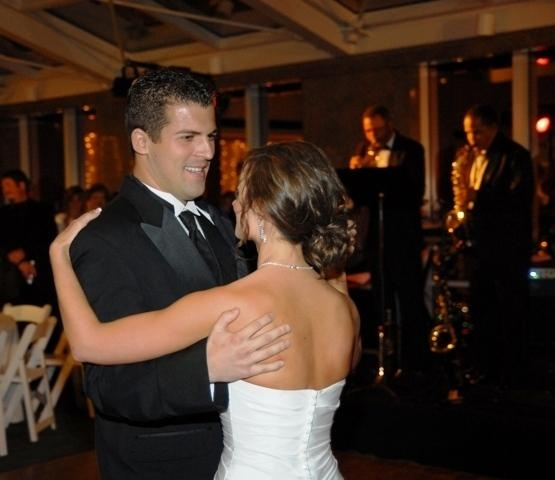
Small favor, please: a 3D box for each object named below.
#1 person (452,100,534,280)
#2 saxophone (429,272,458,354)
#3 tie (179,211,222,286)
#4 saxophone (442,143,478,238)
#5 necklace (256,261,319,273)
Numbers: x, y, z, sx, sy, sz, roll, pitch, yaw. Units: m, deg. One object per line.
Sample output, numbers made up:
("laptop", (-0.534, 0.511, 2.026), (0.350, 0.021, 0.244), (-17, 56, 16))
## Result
("person", (1.526, -0.353, 4.504), (0.514, 1.177, 0.124), (-1, 6, 21))
("saxophone", (1.216, 0.533, 4.674), (0.191, 0.576, 0.098), (-1, 6, 19))
("tie", (-0.353, -0.013, 2.839), (0.089, 0.044, 0.525), (5, 43, -33))
("saxophone", (1.364, -0.480, 4.660), (0.163, 0.592, 0.143), (-19, -48, 39))
("necklace", (0.046, 0.102, 2.424), (0.190, 0.029, 0.066), (5, 4, -13))
